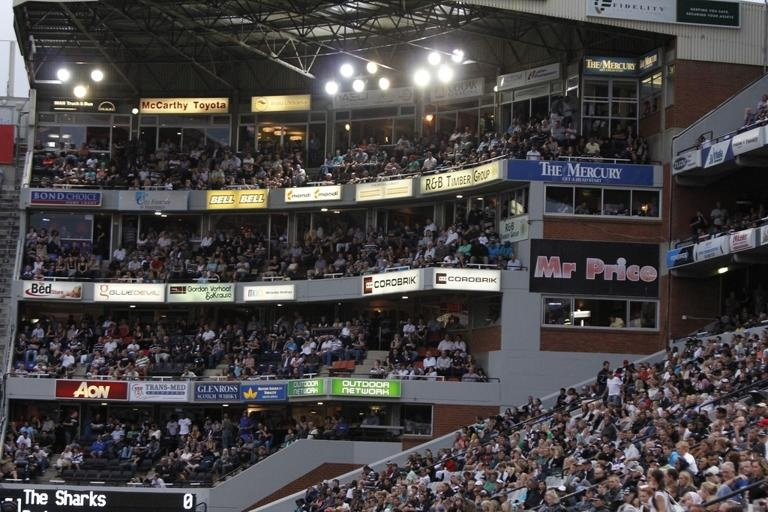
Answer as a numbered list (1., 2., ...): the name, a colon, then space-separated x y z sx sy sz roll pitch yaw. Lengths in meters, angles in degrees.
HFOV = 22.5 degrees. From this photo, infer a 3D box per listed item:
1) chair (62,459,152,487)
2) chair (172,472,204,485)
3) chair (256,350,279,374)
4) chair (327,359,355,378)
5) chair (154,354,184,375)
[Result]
1. chair: -12.403 9.639 87.166 3.660 0.783 1.257 -3 -1 5
2. chair: -8.493 9.908 86.263 0.743 0.573 0.704 -1 -24 10
3. chair: -5.252 4.956 90.174 0.955 1.246 0.959 -1 -26 4
4. chair: -1.790 5.086 88.740 1.303 0.889 0.706 -2 -6 28
5. chair: -9.870 5.075 91.063 1.661 0.861 0.736 3 -4 -3
